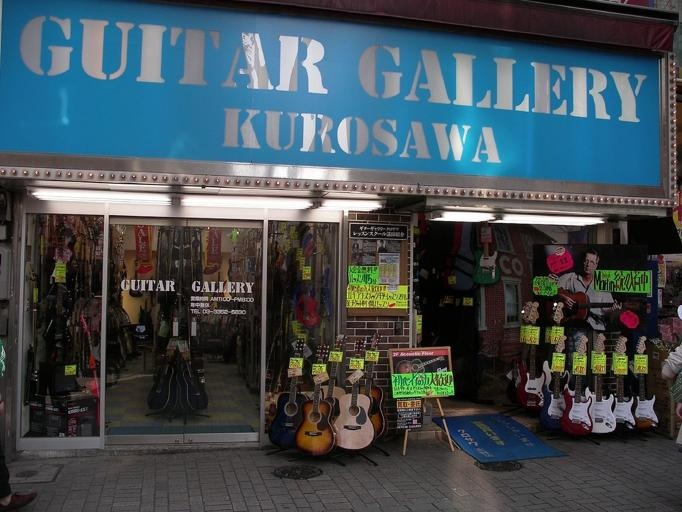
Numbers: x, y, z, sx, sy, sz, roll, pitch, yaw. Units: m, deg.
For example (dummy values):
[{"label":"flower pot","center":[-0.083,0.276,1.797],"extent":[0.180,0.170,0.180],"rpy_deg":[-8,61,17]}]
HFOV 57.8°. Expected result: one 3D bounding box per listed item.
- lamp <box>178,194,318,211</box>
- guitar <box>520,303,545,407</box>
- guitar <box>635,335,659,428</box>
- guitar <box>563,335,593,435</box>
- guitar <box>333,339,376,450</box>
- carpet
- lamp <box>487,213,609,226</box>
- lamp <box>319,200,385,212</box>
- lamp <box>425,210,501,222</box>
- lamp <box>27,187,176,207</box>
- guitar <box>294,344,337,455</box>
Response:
[{"label":"lamp","center":[-1.311,-0.733,8.508],"extent":[1.743,0.182,0.572],"rpy_deg":[0,5,-16]},{"label":"guitar","center":[3.097,1.620,10.074],"extent":[0.395,1.705,0.675],"rpy_deg":[3,5,16]},{"label":"guitar","center":[4.648,1.931,9.435],"extent":[0.378,1.368,0.757],"rpy_deg":[4,5,26]},{"label":"guitar","center":[3.570,1.958,9.289],"extent":[0.427,1.406,0.753],"rpy_deg":[3,5,21]},{"label":"guitar","center":[0.181,2.121,8.292],"extent":[0.553,1.105,0.389],"rpy_deg":[1,5,0]},{"label":"carpet","center":[2.250,2.684,9.184],"extent":[1.397,0.066,1.686],"rpy_deg":[0,5,-13]},{"label":"lamp","center":[3.067,-0.549,9.213],"extent":[1.654,0.154,0.642],"rpy_deg":[0,6,-17]},{"label":"lamp","center":[0.144,-0.716,8.752],"extent":[0.866,0.173,0.438],"rpy_deg":[1,5,-4]},{"label":"lamp","center":[1.761,-0.579,8.954],"extent":[1.025,0.152,0.523],"rpy_deg":[0,5,-13]},{"label":"lamp","center":[-3.167,-0.785,8.174],"extent":[1.285,0.089,0.177],"rpy_deg":[6,-25,-9]},{"label":"guitar","center":[-0.286,2.068,8.217],"extent":[0.478,1.131,0.482],"rpy_deg":[3,5,22]}]
